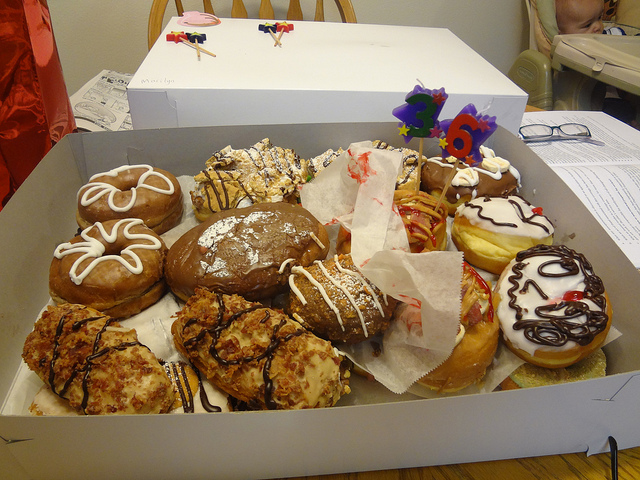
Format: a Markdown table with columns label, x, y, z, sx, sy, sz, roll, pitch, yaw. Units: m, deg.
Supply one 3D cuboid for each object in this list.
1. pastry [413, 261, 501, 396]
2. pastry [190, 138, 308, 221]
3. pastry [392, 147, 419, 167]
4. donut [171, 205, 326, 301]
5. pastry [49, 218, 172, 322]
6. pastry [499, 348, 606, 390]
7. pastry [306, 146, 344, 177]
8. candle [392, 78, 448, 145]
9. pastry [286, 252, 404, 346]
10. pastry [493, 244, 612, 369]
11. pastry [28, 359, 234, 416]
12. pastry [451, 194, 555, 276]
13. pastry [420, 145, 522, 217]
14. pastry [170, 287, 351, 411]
| label | x | y | z | sx | sy | sz | roll | pitch | yaw |
| --- | --- | --- | --- | --- | --- | --- | --- | --- | --- |
| pastry | 0.421 | 0.255 | 1.596 | 0.282 | 0.126 | 0.364 | -14 | 39 | -3 |
| pastry | -0.207 | -0.271 | 1.996 | 0.257 | 0.102 | 0.307 | -17 | 46 | -17 |
| pastry | 0.361 | -0.348 | 2.052 | 0.083 | 0.036 | 0.112 | 3 | 40 | 3 |
| donut | -0.214 | 0.041 | 1.616 | 0.385 | 0.120 | 0.300 | -11 | 53 | -15 |
| pastry | -0.672 | 0.089 | 1.708 | 0.333 | 0.162 | 0.346 | 4 | 39 | 0 |
| pastry | 0.705 | 0.398 | 1.504 | 0.178 | 0.050 | 0.160 | -6 | 16 | -2 |
| pastry | 0.028 | -0.284 | 2.047 | 0.129 | 0.032 | 0.132 | -30 | 34 | 7 |
| candle | 0.324 | -0.412 | 1.664 | 0.175 | 0.214 | 0.036 | 8 | 41 | 15 |
| pastry | 0.054 | 0.183 | 1.486 | 0.232 | 0.097 | 0.307 | -18 | 51 | -15 |
| pastry | 0.726 | 0.192 | 1.573 | 0.338 | 0.143 | 0.424 | -3 | 43 | 22 |
| pastry | -0.489 | 0.430 | 1.397 | 0.324 | 0.090 | 0.239 | 4 | 13 | -11 |
| pastry | 0.640 | -0.091 | 1.756 | 0.291 | 0.179 | 0.300 | 19 | 36 | 24 |
| pastry | 0.586 | -0.237 | 1.970 | 0.291 | 0.110 | 0.324 | -19 | 32 | -26 |
| pastry | -0.174 | 0.281 | 1.384 | 0.446 | 0.155 | 0.260 | 24 | 42 | 21 |
